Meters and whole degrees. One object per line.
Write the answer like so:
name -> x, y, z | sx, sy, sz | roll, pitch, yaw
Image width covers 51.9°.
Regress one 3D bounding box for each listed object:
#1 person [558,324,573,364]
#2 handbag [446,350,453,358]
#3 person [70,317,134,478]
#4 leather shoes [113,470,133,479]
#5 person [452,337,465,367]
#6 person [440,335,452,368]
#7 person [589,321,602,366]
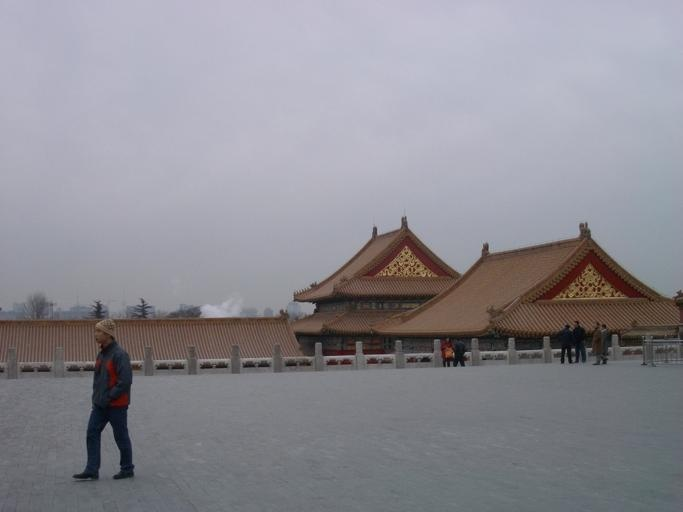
person -> 9.205, 3.570, 28.641 | 0.491, 1.586, 1.528 | -4, -9, 20
handbag -> 4.439, 4.038, 29.033 | 0.309, 0.271, 0.167 | -3, 1, -28
person -> -3.301, 2.028, 9.945 | 0.651, 2.233, 0.444 | 0, -8, -12
leather shoes -> -3.090, 3.104, 9.983 | 0.293, 0.120, 0.107 | 3, -6, -13
person -> 4.917, 4.072, 29.367 | 0.491, 1.002, 0.906 | -3, -8, 9
person -> 4.418, 4.026, 29.327 | 0.475, 1.131, 0.700 | -3, -8, 10
person -> 9.935, 3.394, 27.294 | 0.384, 1.584, 1.324 | -4, -9, 19
